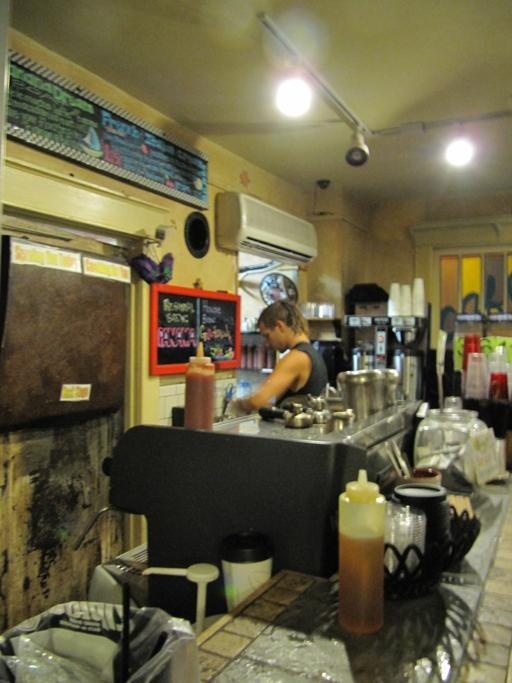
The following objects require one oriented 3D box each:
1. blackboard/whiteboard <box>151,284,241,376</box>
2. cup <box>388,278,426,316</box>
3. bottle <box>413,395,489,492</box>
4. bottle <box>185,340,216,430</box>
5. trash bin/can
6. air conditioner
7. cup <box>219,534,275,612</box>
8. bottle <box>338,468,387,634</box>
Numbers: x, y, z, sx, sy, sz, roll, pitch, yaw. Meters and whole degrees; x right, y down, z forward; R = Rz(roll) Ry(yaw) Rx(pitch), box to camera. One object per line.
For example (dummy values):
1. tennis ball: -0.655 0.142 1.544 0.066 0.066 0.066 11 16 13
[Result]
1. blackboard/whiteboard: -0.399 -0.061 3.633 0.896 0.536 0.024 1 1 41
2. cup: 1.398 -0.409 5.088 0.326 0.433 0.362 0 -1 -25
3. bottle: 0.634 0.333 1.718 0.257 0.284 0.214 -3 -3 30
4. bottle: -0.144 0.118 1.368 0.072 0.229 0.157 0 12 -7
5. trash bin/can: -0.025 0.485 1.139 0.101 0.139 0.101 4 6 2
6. air conditioner: 0.139 -0.887 4.484 0.220 0.405 1.227 6 2 33
7. cup: -0.020 0.492 1.135 0.102 0.142 0.105 0 -1 0
8. bottle: 0.181 0.356 0.910 0.082 0.271 0.085 2 12 0
